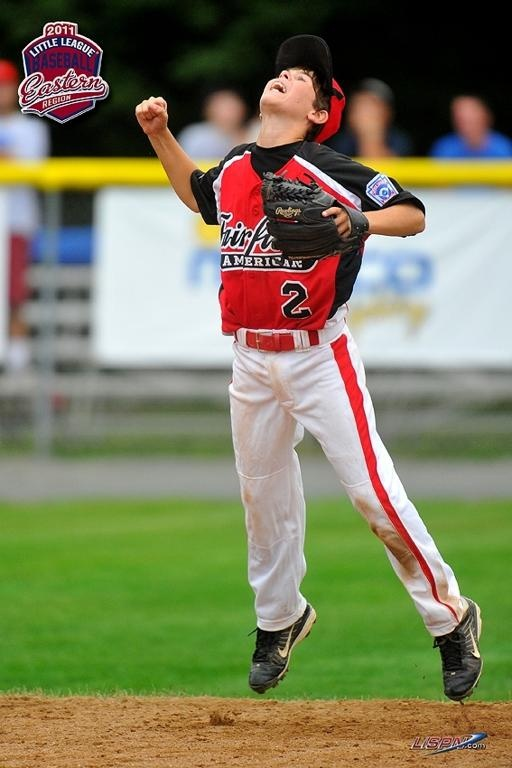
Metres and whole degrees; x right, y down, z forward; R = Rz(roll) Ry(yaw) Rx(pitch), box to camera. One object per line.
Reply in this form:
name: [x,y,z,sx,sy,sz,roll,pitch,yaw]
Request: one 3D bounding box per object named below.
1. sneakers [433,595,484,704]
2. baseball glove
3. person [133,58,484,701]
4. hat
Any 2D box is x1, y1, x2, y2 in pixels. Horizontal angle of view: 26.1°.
sneakers: [0.602,0.771,3.248,0.125,0.315,0.187,-13,-26,43]
baseball glove: [0.127,-0.446,2.963,0.224,0.275,0.151,-20,21,43]
person: [0.145,0.035,3.331,1.157,1.953,0.528,13,18,43]
hat: [0.214,-0.907,3.370,0.230,0.311,0.133,9,24,38]
